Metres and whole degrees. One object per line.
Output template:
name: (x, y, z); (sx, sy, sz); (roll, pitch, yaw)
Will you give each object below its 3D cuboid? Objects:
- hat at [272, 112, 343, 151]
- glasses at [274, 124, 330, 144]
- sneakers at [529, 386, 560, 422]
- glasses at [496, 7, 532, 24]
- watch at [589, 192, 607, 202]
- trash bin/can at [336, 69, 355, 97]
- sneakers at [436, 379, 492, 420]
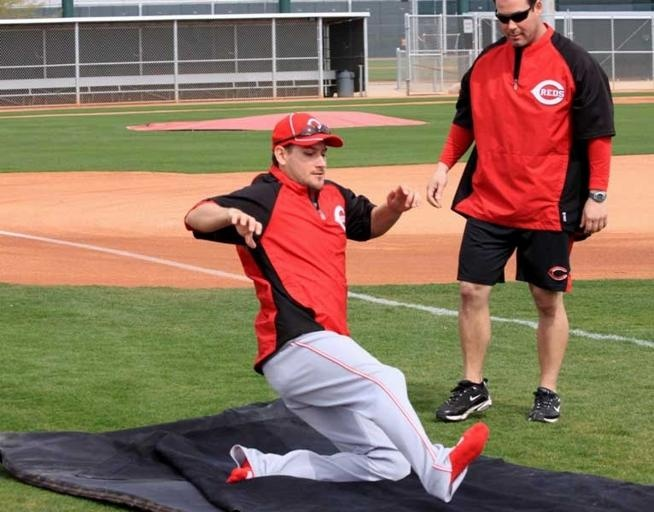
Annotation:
hat: (-0.136, -0.821, 8.582); (0.378, 0.165, 0.270); (8, 11, 28)
glasses: (-0.143, -0.791, 8.533); (0.175, 0.040, 0.164); (-20, -8, 26)
sneakers: (1.575, 1.083, 9.370); (0.215, 0.231, 0.158); (1, 7, 8)
glasses: (1.311, -1.714, 9.300); (0.282, 0.114, 0.123); (6, 9, 42)
watch: (1.951, -0.407, 9.287); (0.091, 0.024, 0.089); (6, 19, 13)
trash bin/can: (0.541, -5.402, 40.970); (0.453, 0.790, 0.578); (1, 7, 10)
sneakers: (1.033, 1.049, 9.479); (0.530, 0.215, 0.189); (-14, 7, -31)
